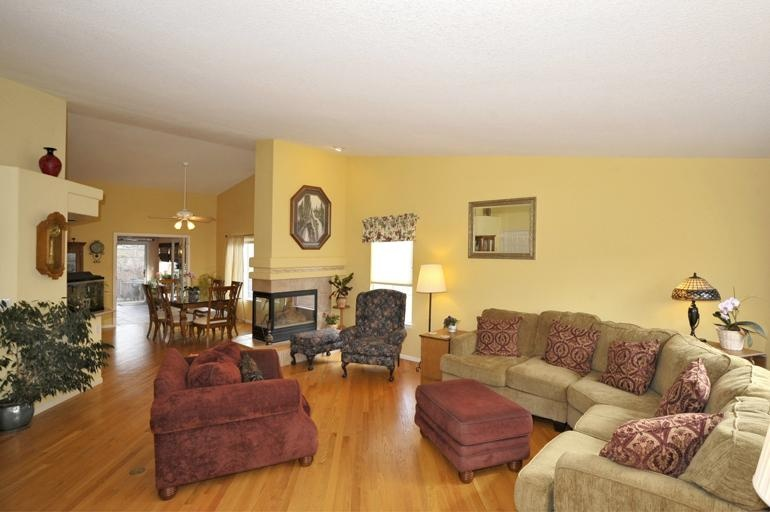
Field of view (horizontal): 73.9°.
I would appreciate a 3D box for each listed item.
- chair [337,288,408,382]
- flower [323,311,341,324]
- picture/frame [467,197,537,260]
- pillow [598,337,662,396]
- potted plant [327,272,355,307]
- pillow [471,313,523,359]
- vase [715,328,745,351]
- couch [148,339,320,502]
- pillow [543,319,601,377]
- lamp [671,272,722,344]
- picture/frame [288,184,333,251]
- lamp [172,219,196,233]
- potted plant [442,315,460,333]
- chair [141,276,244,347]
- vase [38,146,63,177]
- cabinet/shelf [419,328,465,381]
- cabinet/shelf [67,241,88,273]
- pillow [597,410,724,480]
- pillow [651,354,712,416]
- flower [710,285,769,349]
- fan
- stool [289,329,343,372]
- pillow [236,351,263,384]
[{"bbox_3d":[-0.171,1.121,7.501,0.924,1.266,0.839,0,-2,3],"label":"chair"},{"bbox_3d":[-0.824,0.990,8.185,0.192,0.139,0.205,6,-6,-36],"label":"flower"},{"bbox_3d":[1.706,-0.397,7.285,0.964,0.793,0.082,-1,1,35],"label":"picture/frame"},{"bbox_3d":[2.591,1.137,5.398,0.181,0.523,0.576,20,-7,-23],"label":"pillow"},{"bbox_3d":[-0.756,0.583,8.767,0.530,0.546,0.556,0,-3,-20],"label":"potted plant"},{"bbox_3d":[1.479,1.053,6.638,0.534,0.487,0.197,0,-21,21],"label":"pillow"},{"bbox_3d":[3.890,0.925,5.790,0.267,0.196,0.253,3,-3,-37],"label":"vase"},{"bbox_3d":[-1.607,1.561,5.545,1.622,1.004,1.616,-1,6,-22],"label":"couch"},{"bbox_3d":[2.197,1.095,6.165,0.297,0.532,0.580,-8,14,-43],"label":"pillow"},{"bbox_3d":[3.648,0.604,6.033,0.742,0.702,0.738,2,-5,20],"label":"lamp"},{"bbox_3d":[-1.232,-0.619,8.231,0.106,1.282,1.151,0,-2,38],"label":"picture/frame"},{"bbox_3d":[-4.025,-0.601,10.171,0.379,0.360,0.363,4,-8,-23],"label":"lamp"},{"bbox_3d":[0.958,0.969,7.222,0.227,0.218,0.192,5,-6,-34],"label":"potted plant"},{"bbox_3d":[-3.478,1.025,9.188,1.360,0.685,1.363,-1,-2,30],"label":"chair"},{"bbox_3d":[-4.123,-1.146,6.264,0.199,0.378,0.230,0,-2,11],"label":"vase"},{"bbox_3d":[0.741,1.407,7.309,0.493,0.564,0.414,3,7,11],"label":"cabinet/shelf"},{"bbox_3d":[-6.035,0.127,9.947,0.143,0.721,0.381,1,2,19],"label":"cabinet/shelf"},{"bbox_3d":[2.116,1.407,3.895,0.570,0.221,0.565,-7,6,34],"label":"pillow"},{"bbox_3d":[2.798,1.232,4.737,0.430,0.639,0.767,-2,6,31],"label":"pillow"},{"bbox_3d":[4.002,0.749,5.937,0.624,0.619,0.657,-1,-7,29],"label":"flower"},{"bbox_3d":[-3.909,-1.170,9.754,0.896,1.199,1.100,5,5,6],"label":"fan"},{"bbox_3d":[-1.008,1.366,7.807,0.515,0.380,0.771,3,6,39],"label":"stool"},{"bbox_3d":[-1.390,1.235,5.251,0.193,0.157,0.487,-2,7,-26],"label":"pillow"}]
